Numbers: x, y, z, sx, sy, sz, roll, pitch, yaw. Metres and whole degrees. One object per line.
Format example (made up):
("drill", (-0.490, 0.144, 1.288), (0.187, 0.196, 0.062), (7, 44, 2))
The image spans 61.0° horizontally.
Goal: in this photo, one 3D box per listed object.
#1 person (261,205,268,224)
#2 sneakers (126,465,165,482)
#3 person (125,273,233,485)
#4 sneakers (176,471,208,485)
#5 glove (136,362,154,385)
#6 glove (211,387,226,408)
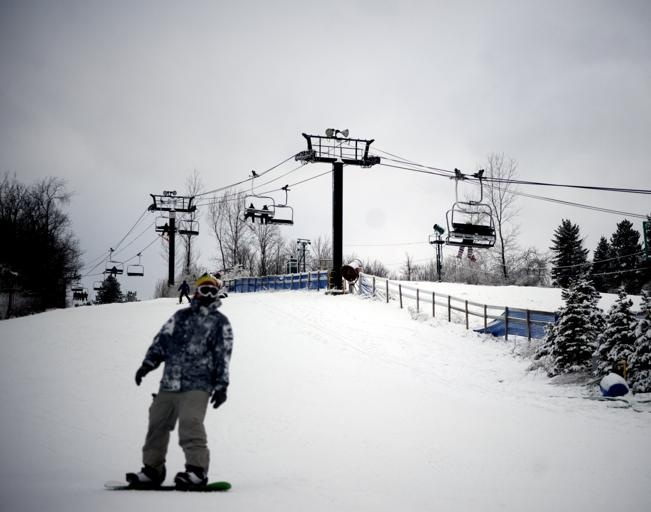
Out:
("person", (-3.918, -2.745, 36.481), (0.441, 1.126, 0.680), (2, 2, -8))
("sneakers", (-2.469, 3.011, 7.643), (0.423, 0.236, 0.268), (9, -23, -10))
("person", (-1.969, 1.723, 7.827), (1.254, 2.901, 0.907), (2, 2, -12))
("sneakers", (-1.828, 3.038, 7.524), (0.436, 0.211, 0.134), (3, 2, -20))
("glove", (-2.646, 1.715, 8.116), (0.230, 0.462, 0.779), (2, 3, -20))
("glove", (-1.494, 2.058, 7.912), (0.205, 0.342, 0.090), (-2, -26, 39))
